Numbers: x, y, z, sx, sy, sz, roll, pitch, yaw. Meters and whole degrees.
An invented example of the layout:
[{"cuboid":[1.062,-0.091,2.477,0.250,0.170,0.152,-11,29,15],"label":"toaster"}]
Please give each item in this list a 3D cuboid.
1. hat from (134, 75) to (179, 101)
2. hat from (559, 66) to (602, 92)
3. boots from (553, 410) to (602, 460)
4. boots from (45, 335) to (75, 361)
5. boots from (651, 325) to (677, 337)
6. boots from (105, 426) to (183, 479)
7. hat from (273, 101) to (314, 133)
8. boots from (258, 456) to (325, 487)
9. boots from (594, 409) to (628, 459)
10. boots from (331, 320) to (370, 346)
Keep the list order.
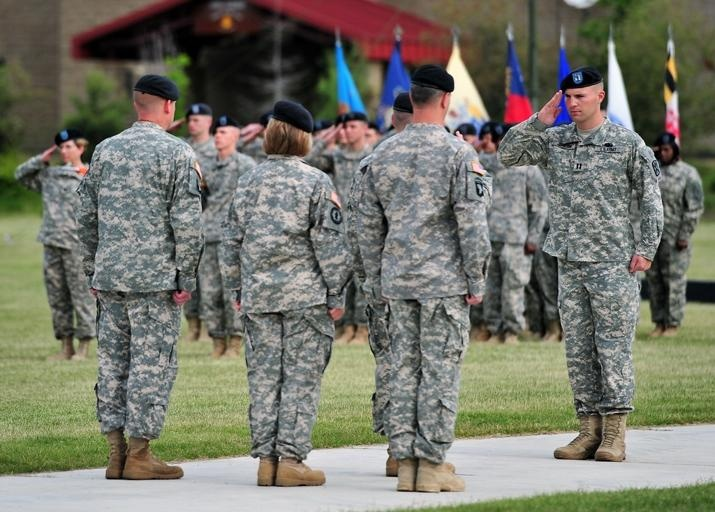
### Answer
[{"cuboid":[-2.839,-2.327,24.730,0.451,0.171,0.437,13,7,22],"label":"hat"},{"cuboid":[3.006,-2.456,24.892,0.502,0.169,0.337,-10,7,-29],"label":"hat"},{"cuboid":[2.981,2.535,24.994,0.898,0.587,0.315,-4,-3,-28],"label":"boots"},{"cuboid":[-5.058,1.527,29.516,0.445,0.368,0.929,0,-1,-10],"label":"boots"},{"cuboid":[5.144,1.298,30.626,0.183,0.326,0.493,3,-11,-22],"label":"boots"},{"cuboid":[-3.077,2.722,24.387,1.004,0.671,0.292,0,-2,-6],"label":"boots"},{"cuboid":[-0.981,-1.921,24.479,0.553,0.258,0.385,21,7,-8],"label":"hat"},{"cuboid":[-1.021,2.925,24.179,0.944,0.372,0.372,0,0,-7],"label":"boots"},{"cuboid":[3.408,2.518,24.777,0.434,0.655,0.259,-1,-2,5],"label":"boots"},{"cuboid":[-0.269,1.363,31.067,0.522,0.430,0.387,0,-11,0],"label":"boots"}]
